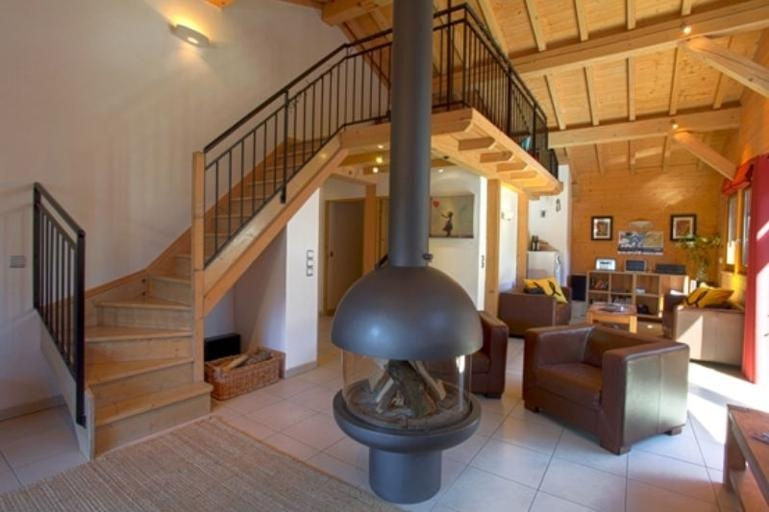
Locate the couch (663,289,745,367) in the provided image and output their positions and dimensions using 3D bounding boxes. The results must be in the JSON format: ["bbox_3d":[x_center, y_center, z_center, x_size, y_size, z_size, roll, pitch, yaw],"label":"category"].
[{"bbox_3d":[4.928,1.009,8.536,0.974,0.784,1.748,1,8,19],"label":"couch"}]

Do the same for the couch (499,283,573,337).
[{"bbox_3d":[2.650,0.945,9.583,0.924,0.748,1.673,3,4,27],"label":"couch"}]

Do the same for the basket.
[{"bbox_3d":[-1.734,1.441,6.876,0.467,0.324,0.783,7,11,41],"label":"basket"}]

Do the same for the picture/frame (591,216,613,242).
[{"bbox_3d":[4.818,-0.619,12.204,0.515,0.676,0.087,5,5,39],"label":"picture/frame"}]

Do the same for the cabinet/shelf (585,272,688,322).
[{"bbox_3d":[4.737,0.693,10.766,1.484,0.817,0.424,4,10,9],"label":"cabinet/shelf"}]

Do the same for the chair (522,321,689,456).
[{"bbox_3d":[2.559,1.452,6.463,1.431,1.019,1.516,-2,6,-41],"label":"chair"}]

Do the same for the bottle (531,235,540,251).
[{"bbox_3d":[3.186,-0.331,11.682,0.091,0.383,0.116,15,-17,-18],"label":"bottle"}]

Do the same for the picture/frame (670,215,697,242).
[{"bbox_3d":[6.106,-0.585,11.244,0.573,0.785,0.086,-2,0,30],"label":"picture/frame"}]

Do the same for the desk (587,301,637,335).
[{"bbox_3d":[3.500,0.891,8.481,0.527,0.357,0.744,2,6,34],"label":"desk"}]

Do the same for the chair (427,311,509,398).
[{"bbox_3d":[1.319,1.335,7.164,1.031,0.875,1.066,1,-7,19],"label":"chair"}]

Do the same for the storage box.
[{"bbox_3d":[-1.732,1.442,6.871,0.462,0.325,0.779,8,12,40],"label":"storage box"}]
